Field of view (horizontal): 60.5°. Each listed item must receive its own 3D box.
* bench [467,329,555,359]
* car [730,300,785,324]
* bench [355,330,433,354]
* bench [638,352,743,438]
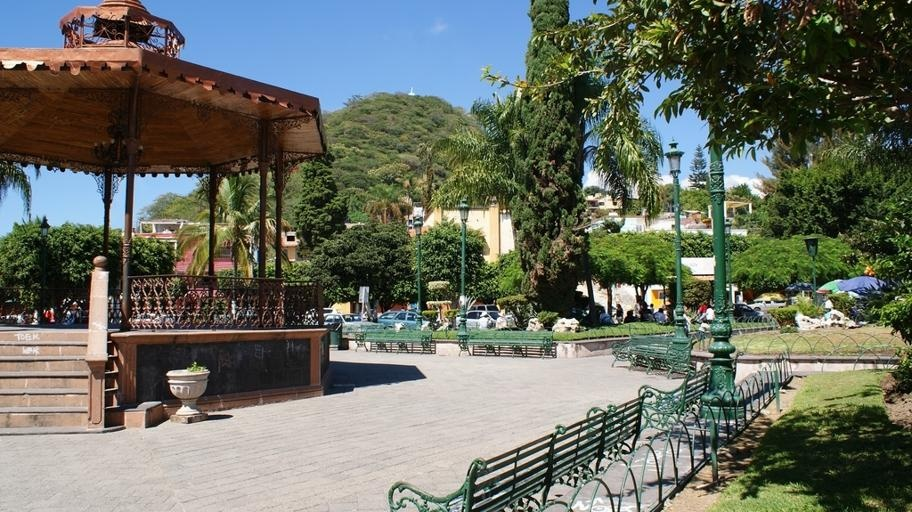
[{"bbox_3d":[2.210,3.577,31.756,3.801,1.045,1.118,-4,-6,29],"label":"bench"},{"bbox_3d":[17.829,3.308,46.044,2.913,1.246,1.757,-4,-4,11],"label":"car"},{"bbox_3d":[-2.833,3.794,34.642,1.464,0.960,4.545,3,-7,-42],"label":"bench"},{"bbox_3d":[5.460,3.244,18.027,1.793,1.588,3.261,-4,-6,26],"label":"bench"}]
